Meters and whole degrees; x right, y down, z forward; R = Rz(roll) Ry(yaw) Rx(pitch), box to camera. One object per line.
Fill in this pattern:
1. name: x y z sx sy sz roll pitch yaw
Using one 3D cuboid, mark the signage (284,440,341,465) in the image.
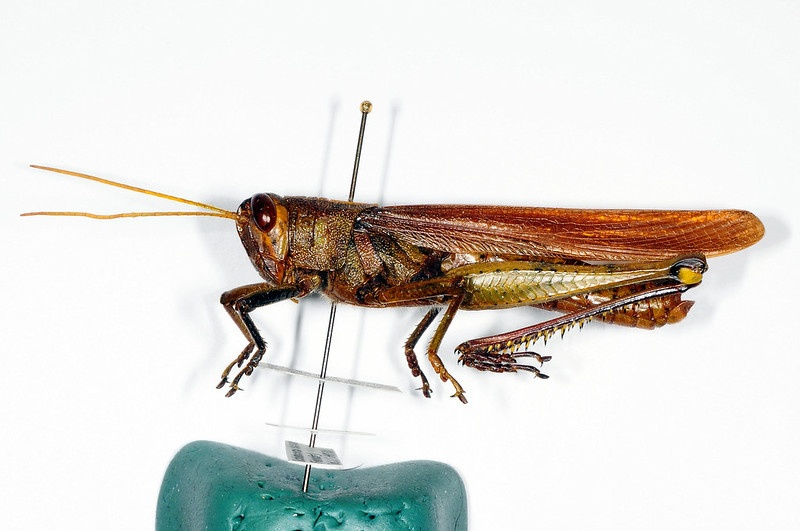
1. signage: -0.302 0.655 3.476 0.189 0.078 0.169 5 -14 -8
